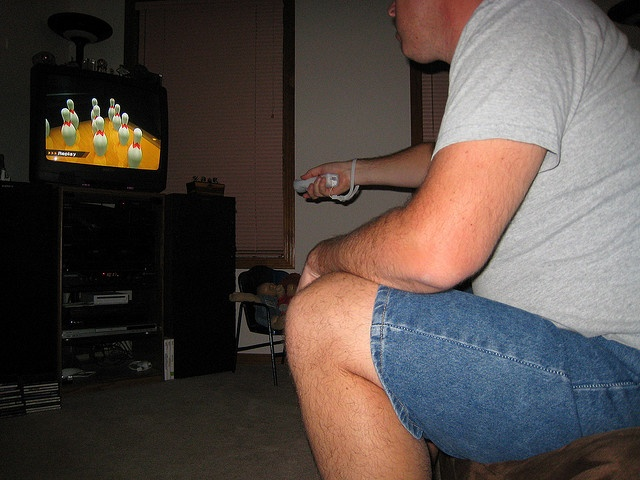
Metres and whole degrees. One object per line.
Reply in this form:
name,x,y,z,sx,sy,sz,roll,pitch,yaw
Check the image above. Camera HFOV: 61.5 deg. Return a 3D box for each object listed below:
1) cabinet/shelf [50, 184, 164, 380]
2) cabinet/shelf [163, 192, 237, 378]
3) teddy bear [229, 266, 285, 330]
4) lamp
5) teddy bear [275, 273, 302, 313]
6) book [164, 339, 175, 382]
cabinet/shelf,-1.260,0.265,3.283,0.584,1.123,0.626,0,3,-25
cabinet/shelf,-0.735,0.282,3.431,0.455,1.137,0.183,0,3,-34
teddy bear,-0.328,0.356,3.422,0.384,0.455,0.344,3,-7,-38
lamp,-1.643,-1.353,3.674,0.377,0.311,0.605,0,3,-26
teddy bear,-0.195,0.325,3.454,0.123,0.173,0.417,1,15,5
book,-0.912,0.730,3.310,0.042,0.198,0.173,1,-1,-21
